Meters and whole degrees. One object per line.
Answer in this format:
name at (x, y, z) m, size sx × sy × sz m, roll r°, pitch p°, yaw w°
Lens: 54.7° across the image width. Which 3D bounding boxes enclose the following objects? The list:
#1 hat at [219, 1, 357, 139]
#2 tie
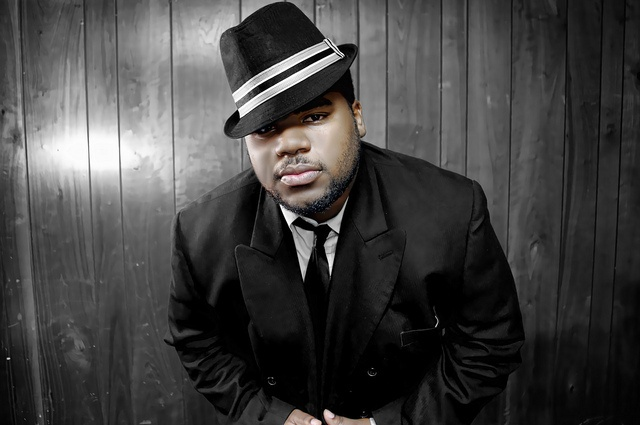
hat at (-0.141, -0.661, 2.992) m, size 0.562 × 0.328 × 0.619 m, roll -37°, pitch 11°, yaw 10°
tie at (-0.009, 0.419, 2.977) m, size 0.201 × 0.741 × 0.029 m, roll -5°, pitch 0°, yaw 5°
